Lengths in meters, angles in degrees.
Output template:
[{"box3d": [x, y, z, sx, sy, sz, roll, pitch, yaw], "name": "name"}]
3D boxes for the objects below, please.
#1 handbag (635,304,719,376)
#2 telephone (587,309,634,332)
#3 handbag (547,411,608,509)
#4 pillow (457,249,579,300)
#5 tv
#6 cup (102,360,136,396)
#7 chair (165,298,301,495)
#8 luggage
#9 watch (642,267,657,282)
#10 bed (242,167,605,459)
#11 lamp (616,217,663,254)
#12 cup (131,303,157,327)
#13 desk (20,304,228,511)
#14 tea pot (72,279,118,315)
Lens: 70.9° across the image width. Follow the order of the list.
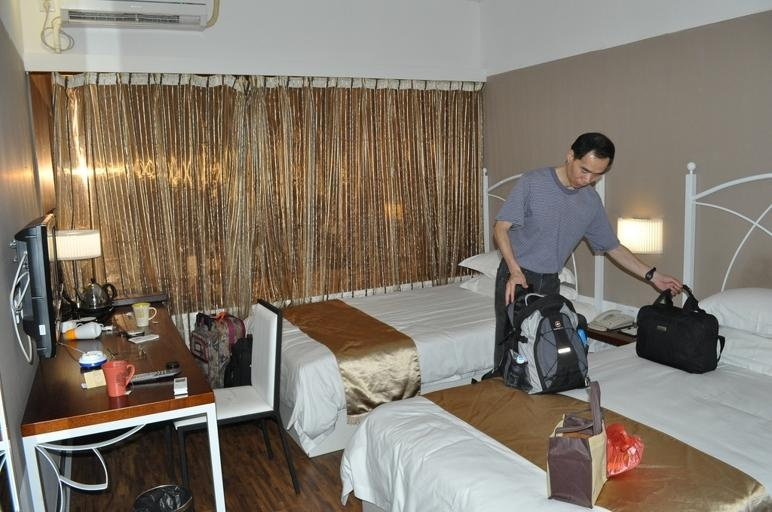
[{"box3d": [1.879, 0.462, 3.489, 0.284, 0.481, 0.527, -5, 7, -29], "name": "handbag"}, {"box3d": [1.794, 0.481, 4.255, 0.245, 0.080, 0.186, -5, 8, -24], "name": "telephone"}, {"box3d": [0.858, 0.913, 2.422, 0.231, 0.327, 0.242, 4, 15, 28], "name": "handbag"}, {"box3d": [1.062, 0.150, 5.171, 0.534, 0.218, 0.714, -4, 13, -23], "name": "pillow"}, {"box3d": [-1.883, 0.177, 2.930, 0.142, 0.594, 0.839, -2, 11, -29], "name": "tv"}, {"box3d": [-1.422, 0.653, 2.907, 0.115, 0.157, 0.171, -1, 5, 25], "name": "cup"}, {"box3d": [-1.038, 0.960, 3.627, 0.788, 1.209, 0.714, -1, 3, -22], "name": "chair"}, {"box3d": [-1.450, 0.774, 4.662, 0.388, 0.593, 0.430, -4, 16, -28], "name": "luggage"}, {"box3d": [1.713, 0.115, 3.520, 0.091, 0.032, 0.067, -49, 6, -25], "name": "watch"}, {"box3d": [0.216, 0.561, 4.839, 2.716, 1.571, 1.703, -7, 11, -27], "name": "bed"}, {"box3d": [2.084, -0.169, 4.386, 0.324, 0.312, 0.311, 6, 11, 35], "name": "lamp"}, {"box3d": [-1.729, 0.422, 3.932, 0.209, 0.152, 0.151, 0, -2, -23], "name": "cup"}, {"box3d": [-1.524, 1.006, 3.220, 0.902, 0.795, 1.011, -9, 14, -24], "name": "desk"}, {"box3d": [-2.230, 0.293, 4.131, 0.352, 0.244, 0.268, 2, 0, -33], "name": "tea pot"}]
